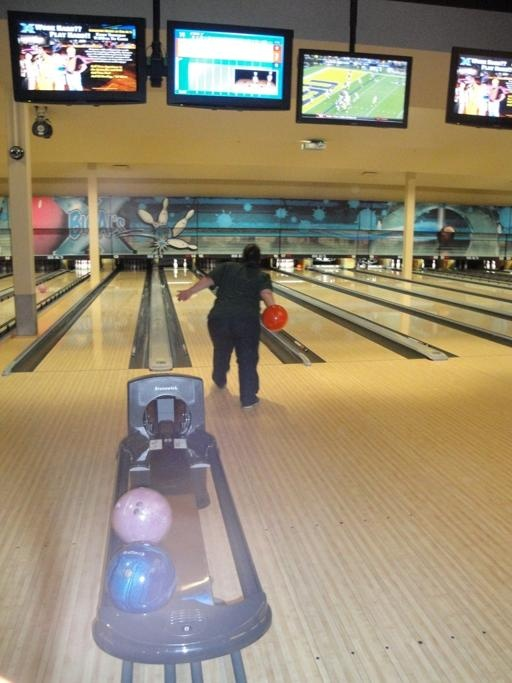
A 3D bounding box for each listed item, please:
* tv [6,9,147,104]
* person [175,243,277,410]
[{"bbox_3d":[-1.075,-1.718,2.904,0.779,0.478,0.073,0,8,-8],"label":"tv"},{"bbox_3d":[-0.147,-0.122,3.081,0.580,0.990,0.426,7,11,29],"label":"person"}]
